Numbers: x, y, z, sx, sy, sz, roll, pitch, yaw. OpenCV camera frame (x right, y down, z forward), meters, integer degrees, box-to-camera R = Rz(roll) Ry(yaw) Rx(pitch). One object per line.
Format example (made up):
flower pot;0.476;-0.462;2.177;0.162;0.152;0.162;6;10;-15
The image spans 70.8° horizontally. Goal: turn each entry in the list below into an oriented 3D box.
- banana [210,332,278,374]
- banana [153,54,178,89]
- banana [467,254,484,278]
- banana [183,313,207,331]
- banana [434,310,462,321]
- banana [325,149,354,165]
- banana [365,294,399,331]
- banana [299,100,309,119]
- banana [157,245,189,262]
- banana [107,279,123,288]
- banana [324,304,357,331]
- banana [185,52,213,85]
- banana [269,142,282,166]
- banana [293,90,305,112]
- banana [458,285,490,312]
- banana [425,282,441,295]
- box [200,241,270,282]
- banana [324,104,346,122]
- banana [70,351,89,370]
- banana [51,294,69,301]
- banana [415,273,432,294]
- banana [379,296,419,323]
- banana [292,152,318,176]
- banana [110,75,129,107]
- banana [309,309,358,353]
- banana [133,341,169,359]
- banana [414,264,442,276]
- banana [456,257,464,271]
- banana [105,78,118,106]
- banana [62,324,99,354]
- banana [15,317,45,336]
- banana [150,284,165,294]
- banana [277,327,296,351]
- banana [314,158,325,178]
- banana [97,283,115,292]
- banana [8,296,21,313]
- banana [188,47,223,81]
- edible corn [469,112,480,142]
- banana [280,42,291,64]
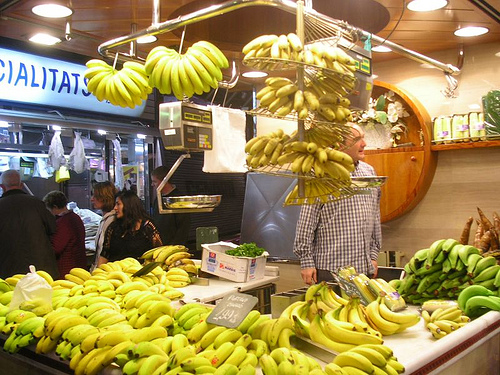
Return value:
banana;-0.031;0.738;1.555;0.164;0.081;0.219;1;-6;4
banana;-0.649;-0.876;2.606;0.068;0.202;0.204;8;13;10
banana;1.486;0.506;2.323;0.059;0.077;0.232;-11;17;39
banana;-0.300;0.730;1.921;0.127;0.065;0.120;-1;1;-2
banana;1.165;0.753;2.058;0.160;0.054;0.058;-2;2;-18
banana;0.426;-0.159;1.832;0.200;0.052;0.071;22;10;36
banana;0.790;0.693;1.954;0.061;0.119;0.190;-8;9;-22
banana;0.278;-0.394;1.773;0.029;0.107;0.036;29;-40;-14
banana;-0.778;0.665;3.555;0.308;0.111;0.083;-13;-12;-25
banana;-1.058;0.756;2.780;0.074;0.037;0.072;10;0;-38
banana;0.456;0.650;1.772;0.052;0.068;0.196;20;7;20
banana;-0.366;-0.887;2.559;0.191;0.241;0.112;-1;2;-8
banana;0.152;-0.183;1.882;0.034;0.127;0.040;37;-25;-18
banana;0.250;-0.444;1.797;0.039;0.034;0.129;12;45;8
banana;1.397;0.684;2.173;0.159;0.155;0.051;18;18;-15
banana;1.259;0.691;2.417;0.118;0.026;0.035;-38;-2;11
box;-0.161;0.660;3.371;0.487;0.193;0.378;4;0;33
banana;0.432;-0.406;1.874;0.056;0.042;0.169;-30;47;-18
banana;-0.819;0.837;1.693;0.084;0.087;0.044;0;2;26
banana;-1.360;0.790;2.524;0.063;0.021;0.066;-2;-4;-13
banana;1.180;0.674;2.405;0.051;0.165;0.055;35;2;3
banana;0.830;0.697;1.963;0.218;0.136;0.075;13;-3;12
banana;0.246;-0.141;1.825;0.175;0.056;0.088;-10;-6;-13
banana;-1.078;-0.811;2.909;0.055;0.163;0.217;-13;-24;18
banana;0.411;0.717;1.765;0.302;0.179;0.097;23;30;-24
banana;-0.428;0.705;1.549;0.047;0.073;0.160;-42;-47;22
banana;1.215;0.565;2.401;0.206;0.061;0.070;-14;-7;17
banana;1.375;0.503;2.310;0.029;0.086;0.032;8;-5;11
banana;-1.166;-0.800;2.949;0.055;0.171;0.146;-8;29;2
banana;-0.896;0.758;1.845;0.193;0.054;0.181;4;-7;-36
banana;-1.304;0.805;2.071;0.104;0.028;0.104;-24;-5;12
banana;-0.719;0.815;2.834;0.060;0.019;0.070;-27;46;-32
banana;0.170;0.731;1.703;0.061;0.031;0.116;35;18;5
banana;0.352;-0.102;1.778;0.051;0.102;0.074;-1;2;12
banana;-1.071;0.749;2.625;0.081;0.044;0.113;-1;1;20
banana;-1.563;0.770;2.330;0.126;0.112;0.036;0;2;32
banana;-0.333;-0.904;2.555;0.073;0.313;0.103;-33;20;48
edible corn;2.792;-0.769;4.398;0.088;0.289;0.143;-1;2;-42
banana;0.187;-0.683;1.822;0.044;0.134;0.037;-6;-20;30
